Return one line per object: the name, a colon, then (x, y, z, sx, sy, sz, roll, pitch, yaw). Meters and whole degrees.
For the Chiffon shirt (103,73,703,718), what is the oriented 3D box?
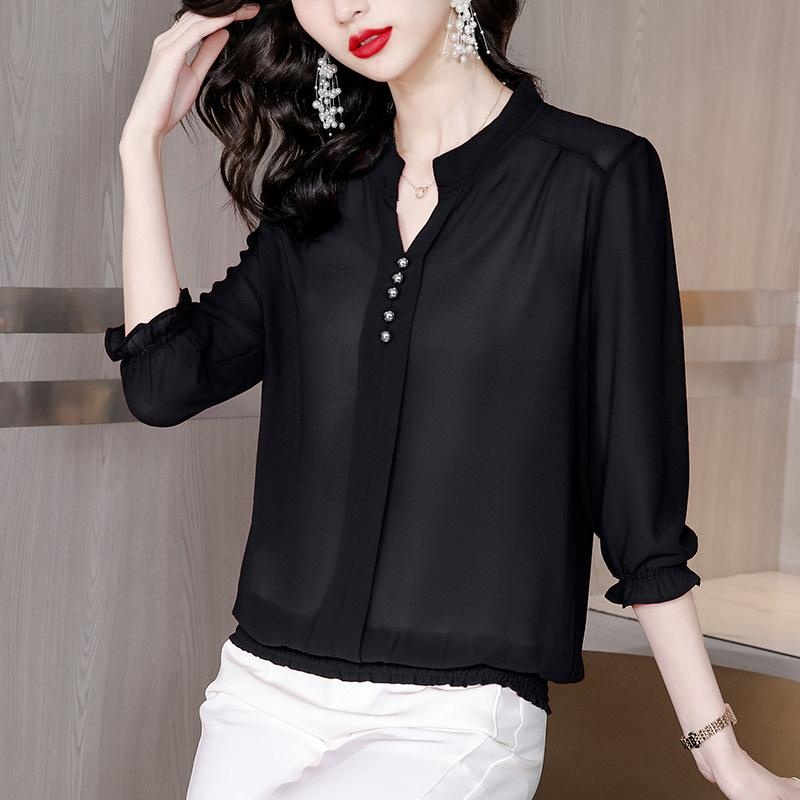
Chiffon shirt: (0.065, -0.020, 1.182, 0.619, 0.781, 0.330, 2, 7, 13)
